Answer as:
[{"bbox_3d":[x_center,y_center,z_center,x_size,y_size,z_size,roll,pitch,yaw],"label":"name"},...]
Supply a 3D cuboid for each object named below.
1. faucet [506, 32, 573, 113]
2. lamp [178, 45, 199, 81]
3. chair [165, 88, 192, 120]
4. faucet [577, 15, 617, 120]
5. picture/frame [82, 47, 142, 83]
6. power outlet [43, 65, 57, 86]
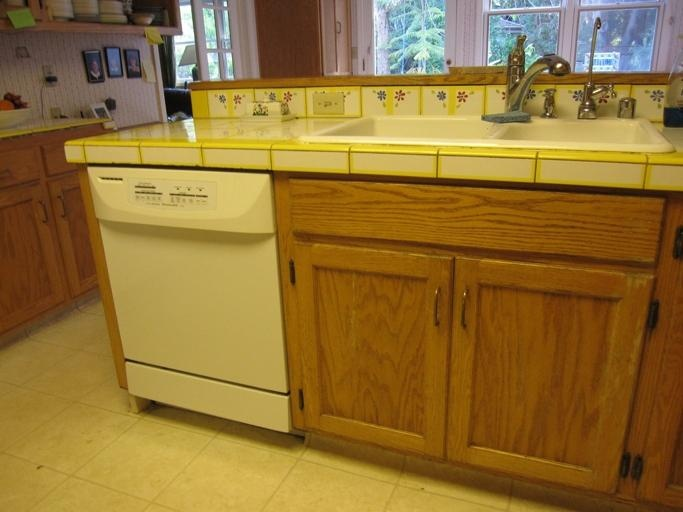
[{"bbox_3d":[0.647,-0.606,1.726,0.079,0.250,0.227,-12,25,-23],"label":"faucet"},{"bbox_3d":[-1.639,-2.146,5.817,0.265,0.404,0.277,-11,19,-32],"label":"lamp"},{"bbox_3d":[-1.469,-1.403,4.742,0.201,0.238,0.354,-15,26,-29],"label":"chair"},{"bbox_3d":[0.920,-0.672,1.831,0.110,0.324,0.628,8,24,23],"label":"faucet"},{"bbox_3d":[-1.583,-1.350,3.619,0.035,0.232,0.512,7,24,21],"label":"picture/frame"},{"bbox_3d":[-1.791,-1.115,3.194,0.040,0.126,0.096,4,23,14],"label":"power outlet"}]
